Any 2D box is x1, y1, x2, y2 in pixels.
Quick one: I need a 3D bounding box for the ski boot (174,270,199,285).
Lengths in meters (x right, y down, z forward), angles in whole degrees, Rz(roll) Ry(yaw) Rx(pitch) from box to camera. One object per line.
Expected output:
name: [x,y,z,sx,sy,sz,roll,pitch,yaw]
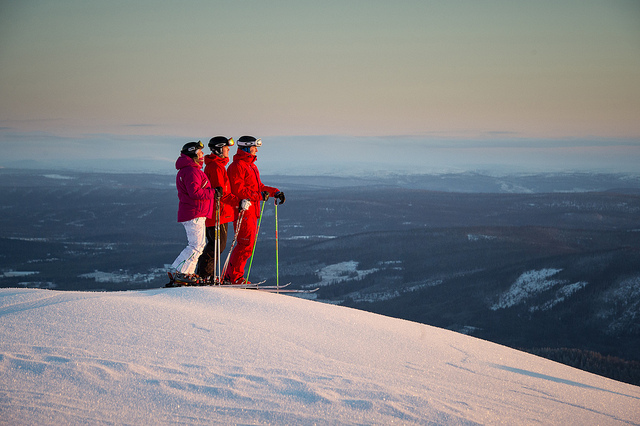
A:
ski boot: [-3.617,1.763,20.565,0.615,0.342,0.111,-1,0,-26]
